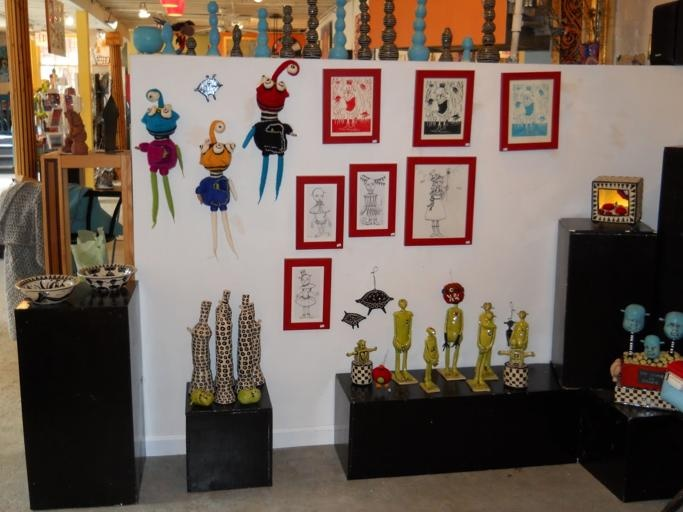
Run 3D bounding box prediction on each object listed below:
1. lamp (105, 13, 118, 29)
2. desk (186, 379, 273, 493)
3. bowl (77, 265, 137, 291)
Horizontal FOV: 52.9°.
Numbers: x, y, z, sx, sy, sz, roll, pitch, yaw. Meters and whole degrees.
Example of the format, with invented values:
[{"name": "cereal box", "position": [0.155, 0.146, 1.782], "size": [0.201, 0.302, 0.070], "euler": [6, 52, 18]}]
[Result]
[{"name": "lamp", "position": [-4.722, -4.827, 14.126], "size": [0.070, 0.288, 0.281], "euler": [12, 10, 7]}, {"name": "desk", "position": [-0.673, 1.048, 4.168], "size": [0.444, 0.469, 0.503], "euler": [-1, 14, -8]}, {"name": "bowl", "position": [-1.380, 0.117, 4.062], "size": [0.192, 0.065, 0.203], "euler": [2, 18, -1]}]
